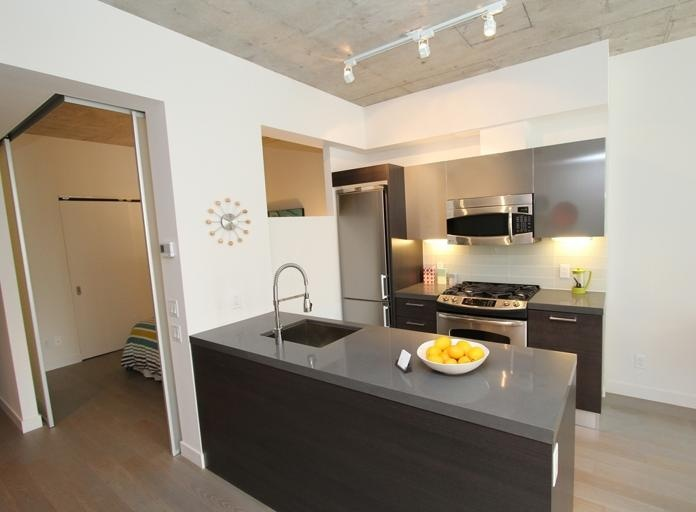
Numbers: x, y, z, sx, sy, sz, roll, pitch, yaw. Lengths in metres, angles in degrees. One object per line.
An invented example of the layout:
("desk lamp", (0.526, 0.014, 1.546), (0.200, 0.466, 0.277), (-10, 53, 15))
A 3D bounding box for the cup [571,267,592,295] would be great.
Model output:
("cup", (2.236, 0.239, 4.667), (0.246, 0.307, 0.198), (1, 4, 24))

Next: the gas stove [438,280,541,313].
("gas stove", (1.410, 0.397, 4.885), (0.881, 0.169, 0.747), (6, 15, 30))

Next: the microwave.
("microwave", (1.413, -0.353, 4.781), (0.769, 0.480, 0.478), (1, 1, 35))

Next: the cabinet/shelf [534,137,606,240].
("cabinet/shelf", (2.129, -0.615, 4.671), (0.607, 0.884, 0.471), (0, 0, 29))

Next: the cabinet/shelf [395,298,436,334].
("cabinet/shelf", (0.704, 0.614, 5.100), (0.436, 0.439, 0.332), (0, -1, 39))

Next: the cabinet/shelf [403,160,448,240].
("cabinet/shelf", (0.857, -0.608, 5.373), (0.516, 0.869, 0.466), (0, 6, 15))

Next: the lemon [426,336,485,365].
("lemon", (0.685, 0.624, 3.166), (0.206, 0.084, 0.202), (0, -2, -45))

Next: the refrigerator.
("refrigerator", (0.157, -0.019, 5.333), (0.742, 1.517, 0.205), (7, 16, 32))

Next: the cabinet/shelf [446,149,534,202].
("cabinet/shelf", (1.350, -0.862, 5.075), (0.983, 0.476, 0.509), (5, 14, 35))
